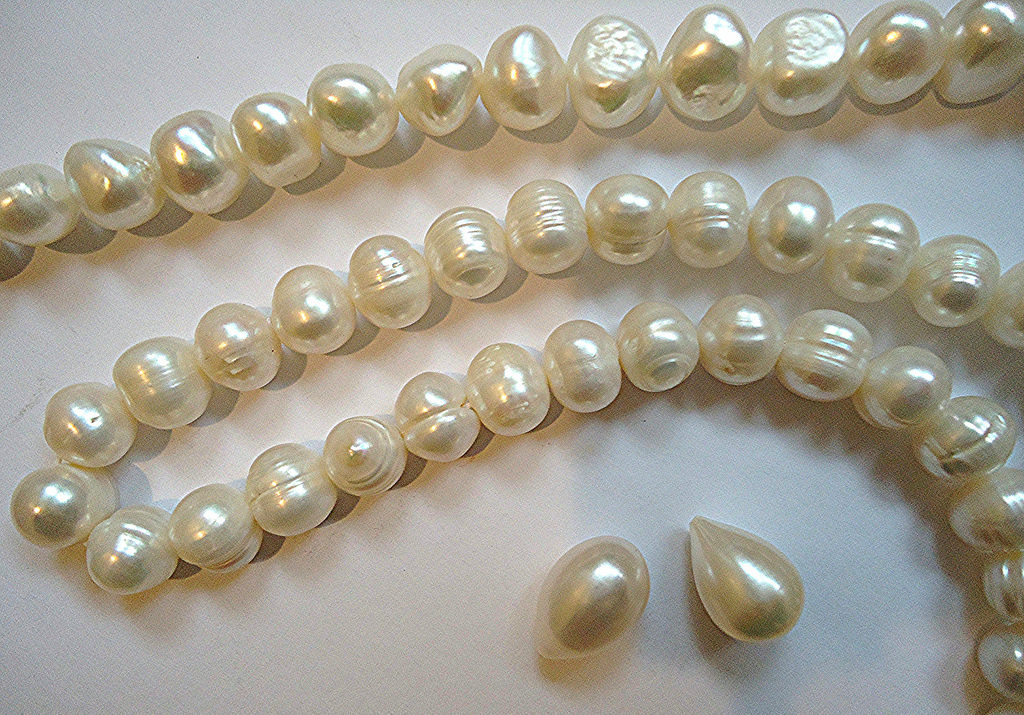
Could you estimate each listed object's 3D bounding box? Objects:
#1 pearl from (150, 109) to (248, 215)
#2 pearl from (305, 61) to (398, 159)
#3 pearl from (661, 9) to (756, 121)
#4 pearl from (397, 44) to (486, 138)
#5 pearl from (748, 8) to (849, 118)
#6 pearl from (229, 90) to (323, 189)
[{"bbox_3d":[-0.417,-0.262,1.209,0.096,0.132,0.067,7,82,8],"label":"pearl"},{"bbox_3d":[-0.202,-0.316,1.163,0.102,0.060,0.113,-37,102,-7],"label":"pearl"},{"bbox_3d":[0.246,-0.364,1.146,0.098,0.066,0.140,-14,103,3],"label":"pearl"},{"bbox_3d":[-0.098,-0.348,1.213,0.136,0.136,0.069,-4,84,-20],"label":"pearl"},{"bbox_3d":[0.369,-0.376,1.165,0.113,0.070,0.099,-5,67,7],"label":"pearl"},{"bbox_3d":[-0.300,-0.279,1.166,0.092,0.064,0.124,-32,106,-10],"label":"pearl"}]
